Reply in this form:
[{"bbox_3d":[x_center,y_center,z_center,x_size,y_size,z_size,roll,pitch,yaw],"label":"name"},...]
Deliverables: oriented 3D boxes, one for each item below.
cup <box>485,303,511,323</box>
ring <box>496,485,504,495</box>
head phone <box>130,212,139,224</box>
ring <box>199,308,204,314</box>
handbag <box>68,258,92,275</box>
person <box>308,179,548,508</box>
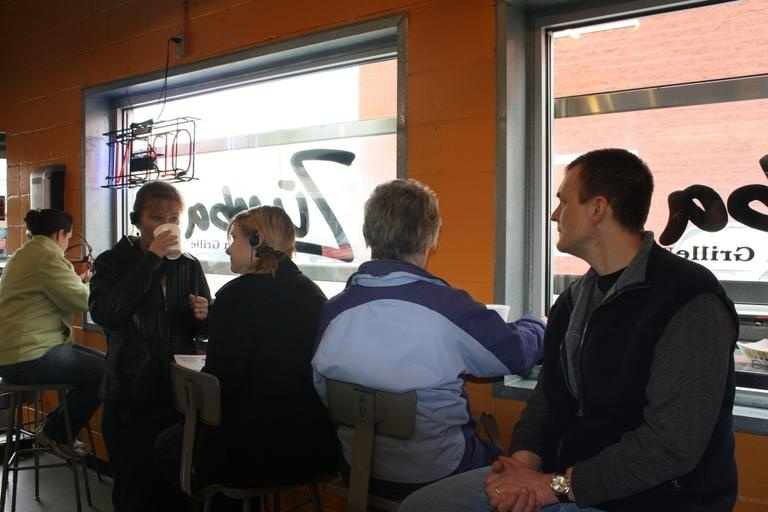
[{"bbox_3d":[0.496,0.238,2.679,0.121,0.100,0.134,0,-3,-17],"label":"cup"},{"bbox_3d":[0.436,0.870,2.309,0.017,0.006,0.017,4,31,-2],"label":"ring"},{"bbox_3d":[-1.435,-0.214,3.525,0.060,0.076,0.078,-2,4,-6],"label":"head phone"},{"bbox_3d":[-1.035,0.309,3.472,0.018,0.025,0.008,6,2,-4],"label":"ring"},{"bbox_3d":[-2.042,0.073,4.138,0.148,0.147,0.089,-4,6,-4],"label":"handbag"},{"bbox_3d":[0.171,0.331,2.754,0.991,1.248,0.915,1,0,15],"label":"person"}]
